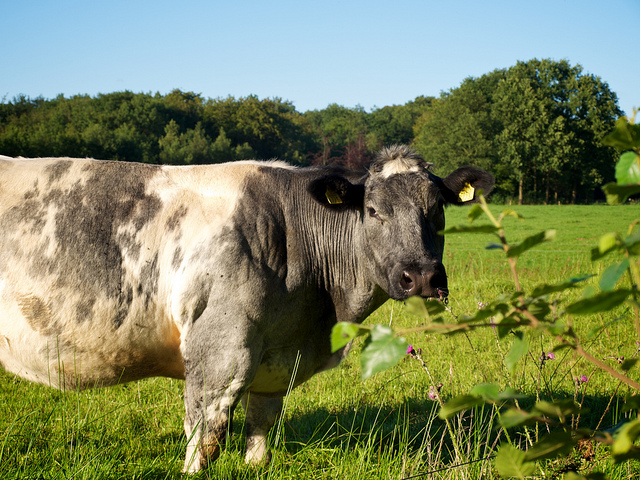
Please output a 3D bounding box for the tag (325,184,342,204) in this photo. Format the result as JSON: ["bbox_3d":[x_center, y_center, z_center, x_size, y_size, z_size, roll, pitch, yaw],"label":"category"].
[{"bbox_3d":[0.134,-0.507,8.592,0.117,0.216,0.021,-26,30,8],"label":"tag"}]
